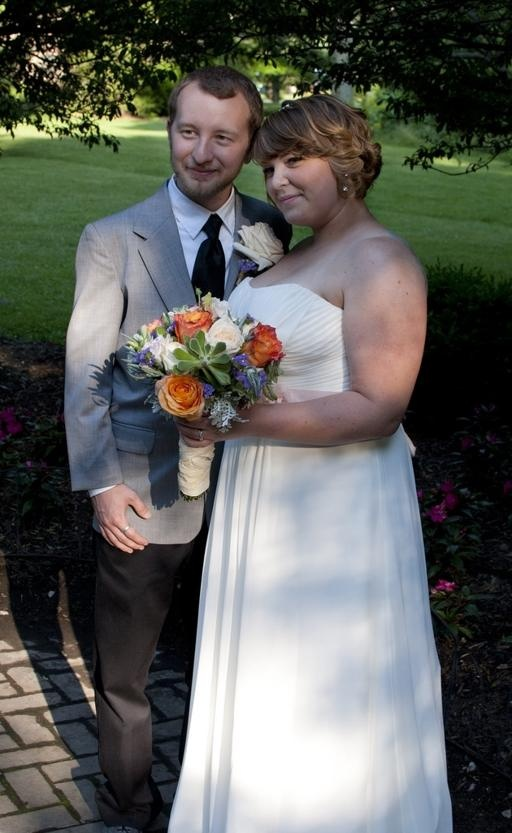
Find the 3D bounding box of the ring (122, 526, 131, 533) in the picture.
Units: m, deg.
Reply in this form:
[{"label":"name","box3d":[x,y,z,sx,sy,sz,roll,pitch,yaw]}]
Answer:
[{"label":"ring","box3d":[-0.360,0.314,2.038,0.019,0.021,0.008,2,-12,-9]}]

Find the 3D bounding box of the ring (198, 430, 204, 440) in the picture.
[{"label":"ring","box3d":[-0.130,0.044,1.734,0.015,0.019,0.005,2,8,12]}]

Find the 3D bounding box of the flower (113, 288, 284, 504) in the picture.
[{"label":"flower","box3d":[-0.167,0.016,1.751,0.457,0.448,0.409,-7,31,-12]}]
